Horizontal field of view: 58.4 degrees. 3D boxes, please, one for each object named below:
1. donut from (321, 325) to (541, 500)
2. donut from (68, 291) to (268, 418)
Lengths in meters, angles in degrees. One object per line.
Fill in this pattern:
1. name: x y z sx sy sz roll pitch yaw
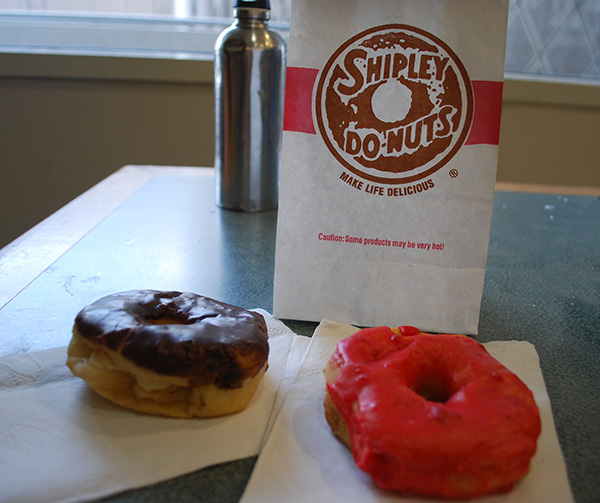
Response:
1. donut: 0.115 0.135 0.471 0.173 0.072 0.138 -4 23 -11
2. donut: -0.128 0.091 0.533 0.194 0.075 0.121 4 22 7
